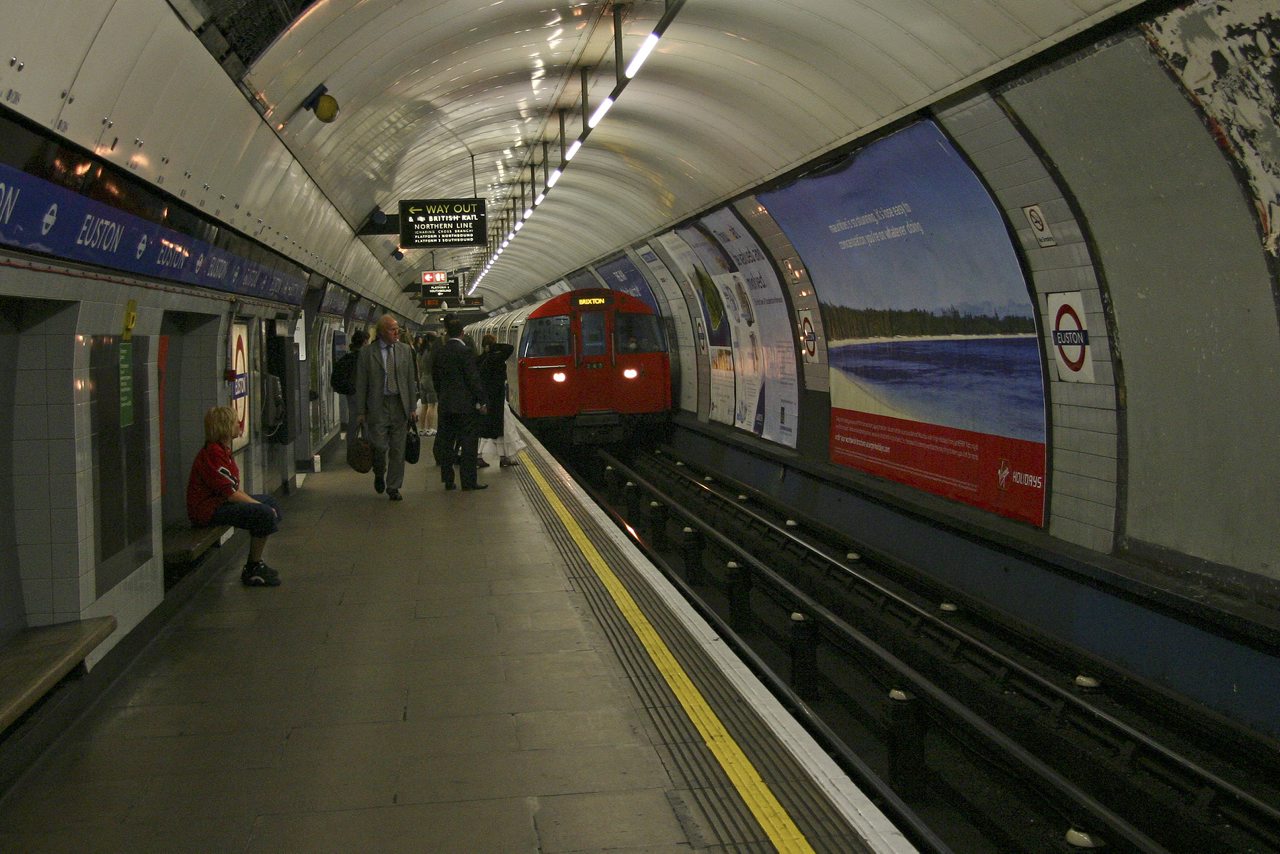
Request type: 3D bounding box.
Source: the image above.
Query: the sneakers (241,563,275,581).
[{"bbox_3d":[-3.696,1.424,8.426,0.320,0.161,0.150,0,3,-7],"label":"sneakers"}]

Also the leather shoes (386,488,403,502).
[{"bbox_3d":[-3.412,0.953,12.089,0.248,0.232,0.131,-2,11,-23],"label":"leather shoes"}]

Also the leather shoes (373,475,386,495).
[{"bbox_3d":[-3.665,0.840,12.170,0.148,0.179,0.440,-1,-35,-16],"label":"leather shoes"}]

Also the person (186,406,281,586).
[{"bbox_3d":[-3.824,0.687,8.121,0.752,1.754,0.492,-4,8,-29],"label":"person"}]

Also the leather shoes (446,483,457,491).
[{"bbox_3d":[-2.808,0.891,12.830,0.087,0.114,0.172,-9,-5,39],"label":"leather shoes"}]

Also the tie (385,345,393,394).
[{"bbox_3d":[-3.276,-0.706,11.253,0.132,0.595,0.167,-2,7,-15],"label":"tie"}]

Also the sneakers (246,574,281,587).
[{"bbox_3d":[-3.643,1.465,8.411,0.331,0.140,0.121,-4,3,-7],"label":"sneakers"}]

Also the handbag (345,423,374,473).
[{"bbox_3d":[-3.753,0.327,11.576,0.311,0.659,0.677,-2,8,-19],"label":"handbag"}]

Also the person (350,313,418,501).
[{"bbox_3d":[-3.400,-0.174,11.500,0.783,2.546,1.102,0,7,0],"label":"person"}]
